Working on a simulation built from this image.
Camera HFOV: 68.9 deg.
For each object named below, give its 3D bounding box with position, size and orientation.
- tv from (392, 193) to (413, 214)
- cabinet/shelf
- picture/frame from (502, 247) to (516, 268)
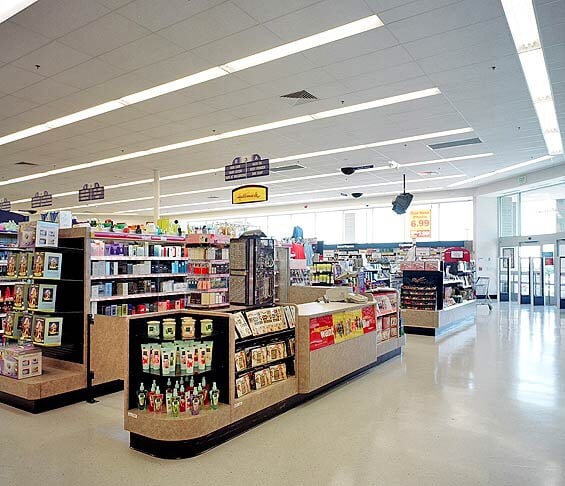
[{"bbox_3d":[4.155,-1.385,14.404,0.811,0.803,0.582,14,15,18],"label":"tv"},{"bbox_3d":[-0.716,0.959,6.681,3.590,2.238,5.798,-1,-2,37],"label":"cabinet/shelf"},{"bbox_3d":[9.304,0.622,16.985,0.106,0.976,0.764,6,-7,-15],"label":"picture/frame"}]
